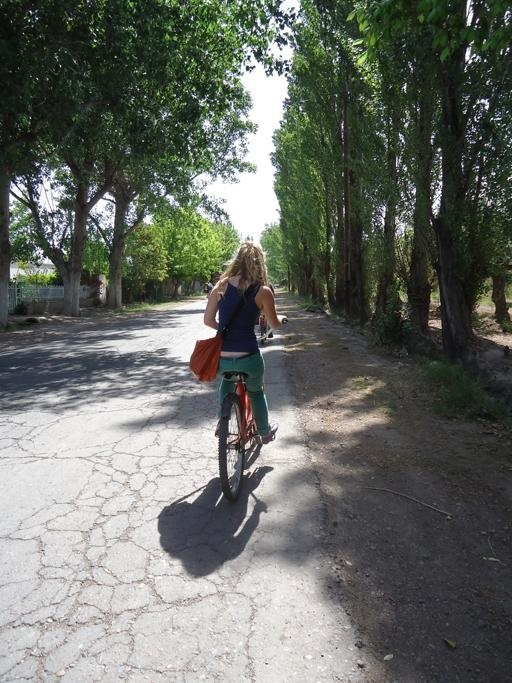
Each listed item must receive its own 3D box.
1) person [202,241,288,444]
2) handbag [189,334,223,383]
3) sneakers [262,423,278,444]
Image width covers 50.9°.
[{"bbox_3d":[-0.090,-0.005,4.011,0.532,1.449,0.479,-3,7,-26],"label":"person"},{"bbox_3d":[-0.364,0.119,3.910,0.230,0.329,0.172,0,6,-1],"label":"handbag"},{"bbox_3d":[0.103,0.774,4.645,0.077,0.108,0.253,3,38,19],"label":"sneakers"}]
